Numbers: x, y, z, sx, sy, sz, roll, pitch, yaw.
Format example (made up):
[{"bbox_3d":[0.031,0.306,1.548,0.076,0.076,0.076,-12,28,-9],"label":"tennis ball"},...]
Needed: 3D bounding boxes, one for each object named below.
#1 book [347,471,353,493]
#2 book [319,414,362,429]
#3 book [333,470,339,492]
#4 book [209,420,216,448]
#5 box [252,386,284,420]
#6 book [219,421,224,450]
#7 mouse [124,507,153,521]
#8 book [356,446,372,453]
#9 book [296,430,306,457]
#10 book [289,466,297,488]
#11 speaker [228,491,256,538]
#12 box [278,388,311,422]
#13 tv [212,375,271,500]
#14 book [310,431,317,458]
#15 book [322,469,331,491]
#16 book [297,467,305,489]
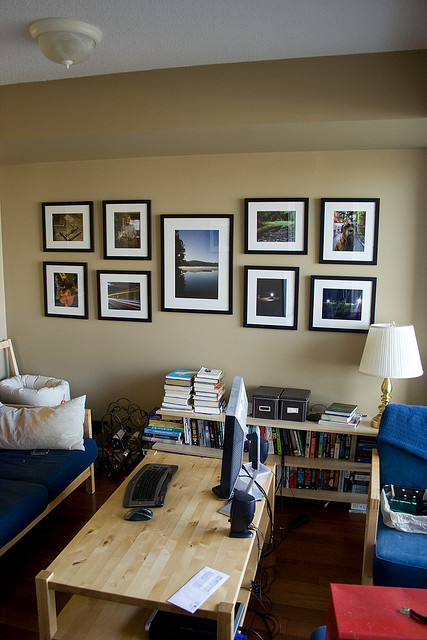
[{"bbox_3d":[0.880,1.053,3.009,0.031,0.146,0.010,0,8,16],"label":"book"},{"bbox_3d":[0.814,0.635,2.901,0.294,0.051,0.155,-4,8,-13],"label":"book"},{"bbox_3d":[0.797,1.054,3.034,0.023,0.106,0.104,4,2,10],"label":"book"},{"bbox_3d":[-0.009,0.781,3.155,0.035,0.193,0.020,-1,8,9],"label":"book"},{"bbox_3d":[0.354,0.545,3.077,0.177,0.138,0.182,4,9,15],"label":"box"},{"bbox_3d":[0.051,0.783,3.114,0.020,0.190,0.085,-3,8,-6],"label":"book"},{"bbox_3d":[-0.316,0.804,1.926,0.081,0.031,0.047,-2,8,2],"label":"mouse"},{"bbox_3d":[0.953,0.829,2.949,0.056,0.036,0.062,4,0,1],"label":"book"},{"bbox_3d":[0.563,0.794,3.025,0.058,0.158,0.013,-5,8,-19],"label":"book"},{"bbox_3d":[0.524,1.047,3.080,0.051,0.144,0.019,1,8,20],"label":"book"},{"bbox_3d":[0.105,0.751,1.823,0.100,0.180,0.142,-2,8,0],"label":"speaker"},{"bbox_3d":[0.518,0.544,3.018,0.151,0.128,0.202,3,12,14],"label":"box"},{"bbox_3d":[0.134,0.512,1.973,0.204,0.419,0.422,4,17,9],"label":"tv"},{"bbox_3d":[0.648,0.815,3.027,0.048,0.172,0.011,-4,8,-11],"label":"book"},{"bbox_3d":[0.732,1.054,3.047,0.045,0.140,0.020,2,8,26],"label":"book"},{"bbox_3d":[0.574,1.049,3.067,0.046,0.145,0.010,-2,7,1],"label":"book"}]
